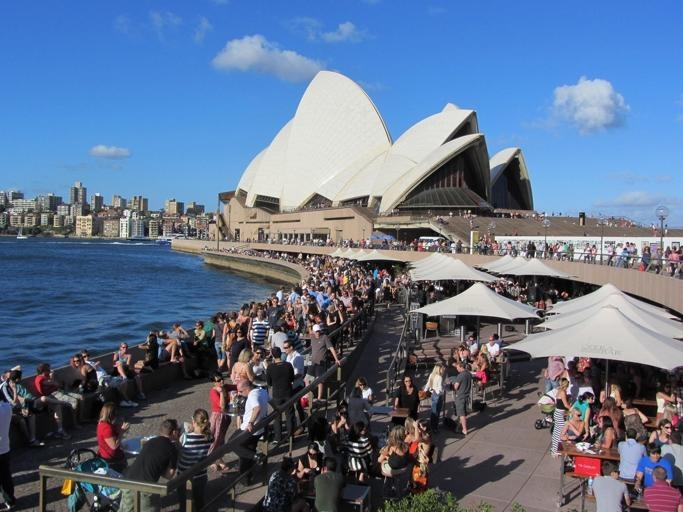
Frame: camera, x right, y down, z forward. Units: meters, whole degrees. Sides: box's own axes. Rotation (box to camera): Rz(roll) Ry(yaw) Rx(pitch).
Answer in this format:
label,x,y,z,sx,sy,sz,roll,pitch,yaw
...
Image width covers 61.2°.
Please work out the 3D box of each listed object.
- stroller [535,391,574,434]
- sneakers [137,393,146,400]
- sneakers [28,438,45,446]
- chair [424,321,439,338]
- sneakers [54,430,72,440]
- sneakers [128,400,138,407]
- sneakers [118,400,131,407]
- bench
label,x,y,z,sx,sy,sz,roll,pitch,yaw
stroller,4.326,3.194,11.941,0.861,1.055,0.655,7,-8,-45
sneakers,-4.471,3.167,13.047,0.259,0.118,0.098,5,4,43
sneakers,-5.528,3.421,10.528,0.202,0.085,0.118,2,-1,27
chair,2.995,2.457,19.379,0.521,0.584,0.427,0,-5,0
sneakers,-5.239,3.386,10.968,0.331,0.142,0.124,9,0,7
sneakers,-4.546,3.223,12.602,0.266,0.115,0.094,1,1,15
sneakers,-4.674,3.213,12.513,0.237,0.100,0.091,-2,2,23
bench,-4.990,2.710,12.542,1.879,1.624,4.922,0,-1,13
